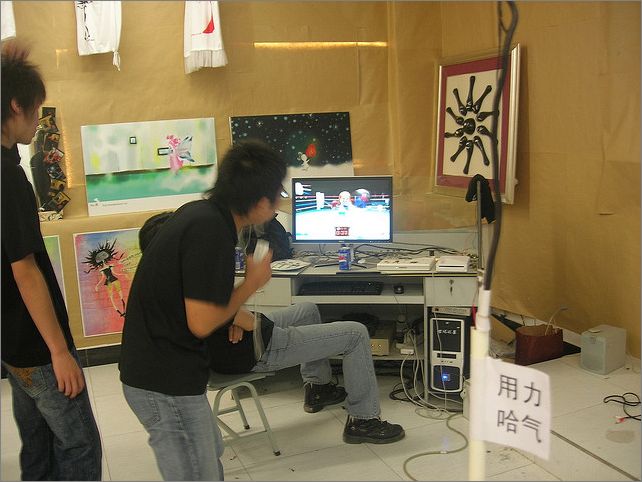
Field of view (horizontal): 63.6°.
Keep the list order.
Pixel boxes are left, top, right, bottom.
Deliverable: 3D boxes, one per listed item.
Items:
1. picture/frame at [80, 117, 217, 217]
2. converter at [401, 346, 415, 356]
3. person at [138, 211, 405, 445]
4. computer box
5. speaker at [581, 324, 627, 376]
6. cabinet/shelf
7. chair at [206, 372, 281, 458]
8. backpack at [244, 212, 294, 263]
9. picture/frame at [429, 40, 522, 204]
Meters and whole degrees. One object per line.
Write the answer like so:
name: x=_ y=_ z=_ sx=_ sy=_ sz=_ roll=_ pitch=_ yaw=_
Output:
picture/frame: x=-1.515 y=-0.669 z=4.664 sx=1.187 sy=0.804 sz=0.019 roll=-12 pitch=33 yaw=-37
converter: x=0.636 y=0.798 z=3.803 sx=0.068 sy=0.034 sz=0.068 roll=1 pitch=8 yaw=8
person: x=-0.324 y=0.386 z=3.206 sx=1.293 sy=1.904 sz=0.798 roll=-14 pitch=12 yaw=-24
computer box: x=0.895 y=0.833 z=3.608 sx=0.307 sy=0.651 sz=0.246 roll=1 pitch=14 yaw=18
speaker: x=1.981 y=0.748 z=3.626 sx=0.258 sy=0.259 sz=0.182 roll=-9 pitch=10 yaw=-29
cabinet/shelf: x=0.244 y=0.578 z=3.873 sx=1.725 sy=0.881 sz=0.566 roll=-2 pitch=8 yaw=0
chair: x=-0.560 y=1.040 z=3.239 sx=0.302 sy=0.352 sz=0.376 roll=-3 pitch=-12 yaw=-31
backpack: x=-0.362 y=-0.016 z=3.533 sx=0.312 sy=0.248 sz=0.173 roll=-20 pitch=25 yaw=-20
picture/frame: x=1.290 y=-0.969 z=4.436 sx=0.782 sy=1.288 sz=0.528 roll=5 pitch=16 yaw=33
